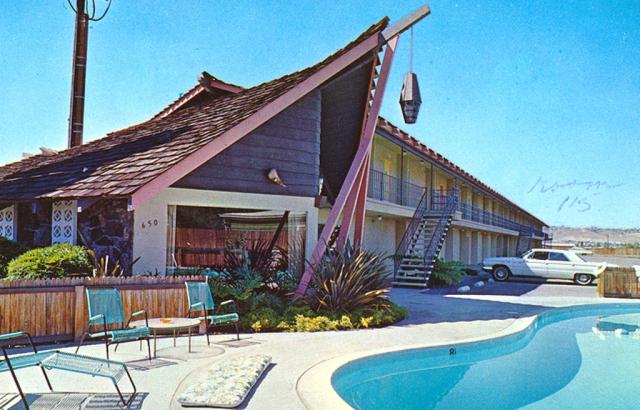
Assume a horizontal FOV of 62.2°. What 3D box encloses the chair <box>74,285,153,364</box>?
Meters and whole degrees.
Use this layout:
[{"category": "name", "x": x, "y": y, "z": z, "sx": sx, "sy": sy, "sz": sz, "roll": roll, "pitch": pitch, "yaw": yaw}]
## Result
[{"category": "chair", "x": -5.417, "y": 3.128, "z": 14.137, "sx": 1.741, "sy": 1.805, "sz": 1.268, "roll": -3, "pitch": -5, "yaw": 40}]
